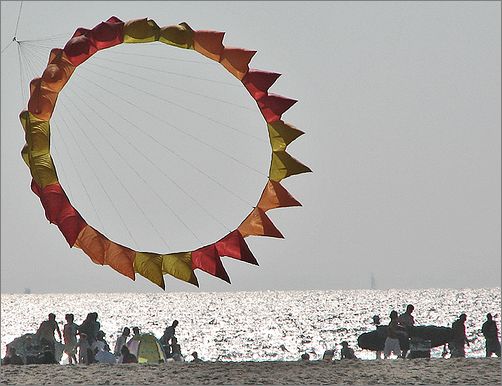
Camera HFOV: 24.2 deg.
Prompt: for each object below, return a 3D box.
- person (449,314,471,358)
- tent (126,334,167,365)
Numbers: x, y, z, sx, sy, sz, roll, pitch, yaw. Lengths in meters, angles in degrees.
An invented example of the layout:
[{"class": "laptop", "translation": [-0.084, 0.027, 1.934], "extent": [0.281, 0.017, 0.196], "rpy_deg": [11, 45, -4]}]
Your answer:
[{"class": "person", "translation": [8.462, 5.700, 46.562], "extent": [0.496, 2.026, 1.115], "rpy_deg": [0, -5, -1]}, {"class": "tent", "translation": [-4.122, 6.179, 46.734], "extent": [1.568, 1.062, 1.145], "rpy_deg": [-3, 0, -37]}]
